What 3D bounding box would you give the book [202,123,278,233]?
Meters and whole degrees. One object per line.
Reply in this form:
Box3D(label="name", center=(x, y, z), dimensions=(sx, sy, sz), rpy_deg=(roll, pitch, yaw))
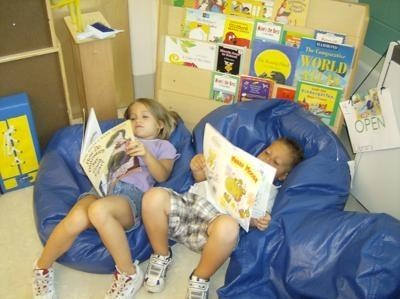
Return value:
Box3D(label="book", center=(0.141, 0.133, 1.399), dimensions=(0.048, 0.363, 0.444), rpy_deg=(-15, 38, -30))
